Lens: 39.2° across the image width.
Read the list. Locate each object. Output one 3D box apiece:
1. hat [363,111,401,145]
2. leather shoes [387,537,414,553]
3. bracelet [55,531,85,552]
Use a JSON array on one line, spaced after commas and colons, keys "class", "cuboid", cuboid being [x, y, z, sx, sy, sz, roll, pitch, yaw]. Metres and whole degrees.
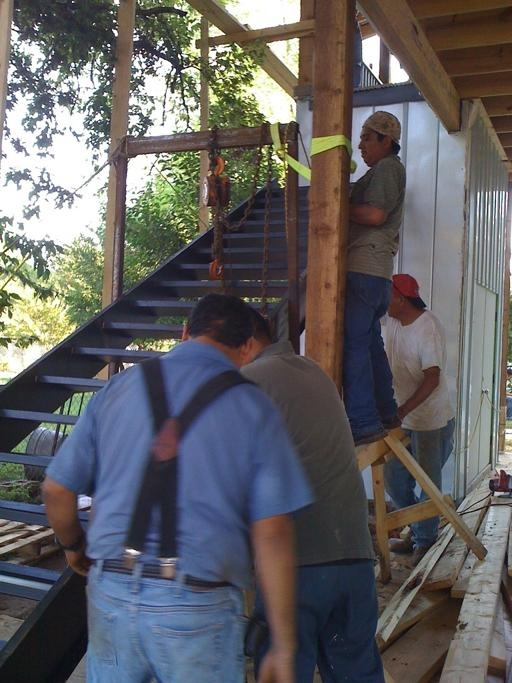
[{"class": "hat", "cuboid": [0.706, -1.175, 4.030, 0.209, 0.158, 0.193, 22, 1, -6]}, {"class": "leather shoes", "cuboid": [1.071, 1.518, 5.331, 0.214, 0.137, 0.071, 2, -4, 22]}, {"class": "bracelet", "cuboid": [-0.525, 0.566, 2.025, 0.065, 0.023, 0.065, -11, -7, 18]}]
